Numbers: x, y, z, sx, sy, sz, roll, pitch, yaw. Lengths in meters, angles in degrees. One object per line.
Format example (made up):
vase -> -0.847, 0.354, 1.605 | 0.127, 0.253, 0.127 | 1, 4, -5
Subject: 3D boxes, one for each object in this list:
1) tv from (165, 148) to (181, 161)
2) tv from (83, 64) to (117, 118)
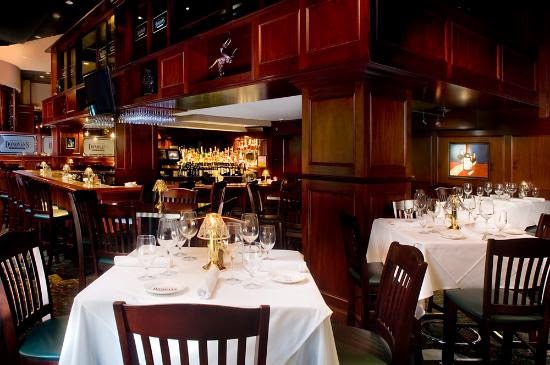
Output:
tv -> -3.212, -0.872, 12.479 | 0.080, 0.410, 0.571 | -11, -8, 38
tv -> -3.570, -1.876, 8.155 | 0.138, 1.005, 1.364 | -16, 10, -39
